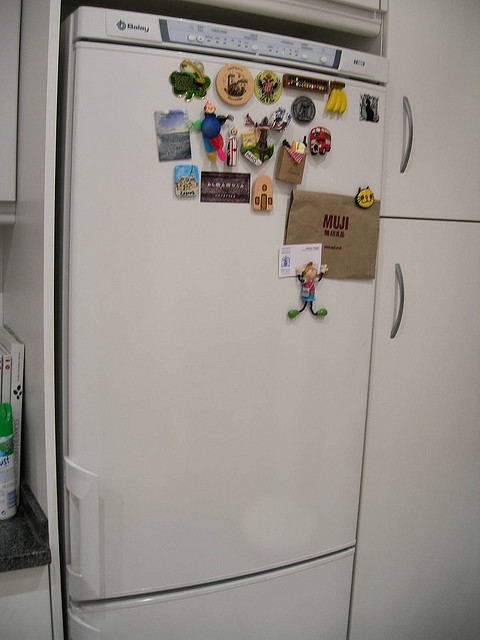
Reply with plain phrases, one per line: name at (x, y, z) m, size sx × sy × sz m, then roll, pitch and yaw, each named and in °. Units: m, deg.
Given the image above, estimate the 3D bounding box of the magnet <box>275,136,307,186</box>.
magnet at (0.109, -0.330, 1.049) m, size 0.047 × 0.109 × 0.031 m, roll 11°, pitch -3°, yaw -14°

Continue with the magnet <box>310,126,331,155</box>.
magnet at (0.165, -0.374, 1.059) m, size 0.039 × 0.079 × 0.032 m, roll -2°, pitch 3°, yaw -20°

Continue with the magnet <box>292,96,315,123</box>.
magnet at (0.131, -0.432, 1.042) m, size 0.050 × 0.046 × 0.010 m, roll -4°, pitch 13°, yaw -25°

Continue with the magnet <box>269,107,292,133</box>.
magnet at (0.086, -0.406, 1.024) m, size 0.029 × 0.061 × 0.016 m, roll 9°, pitch -4°, yaw -14°

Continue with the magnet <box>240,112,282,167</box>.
magnet at (0.042, -0.358, 1.016) m, size 0.087 × 0.101 × 0.029 m, roll -4°, pitch 13°, yaw -26°

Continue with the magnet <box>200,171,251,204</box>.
magnet at (-0.029, -0.262, 1.010) m, size 0.102 × 0.058 × 0.008 m, roll -3°, pitch 13°, yaw -22°
